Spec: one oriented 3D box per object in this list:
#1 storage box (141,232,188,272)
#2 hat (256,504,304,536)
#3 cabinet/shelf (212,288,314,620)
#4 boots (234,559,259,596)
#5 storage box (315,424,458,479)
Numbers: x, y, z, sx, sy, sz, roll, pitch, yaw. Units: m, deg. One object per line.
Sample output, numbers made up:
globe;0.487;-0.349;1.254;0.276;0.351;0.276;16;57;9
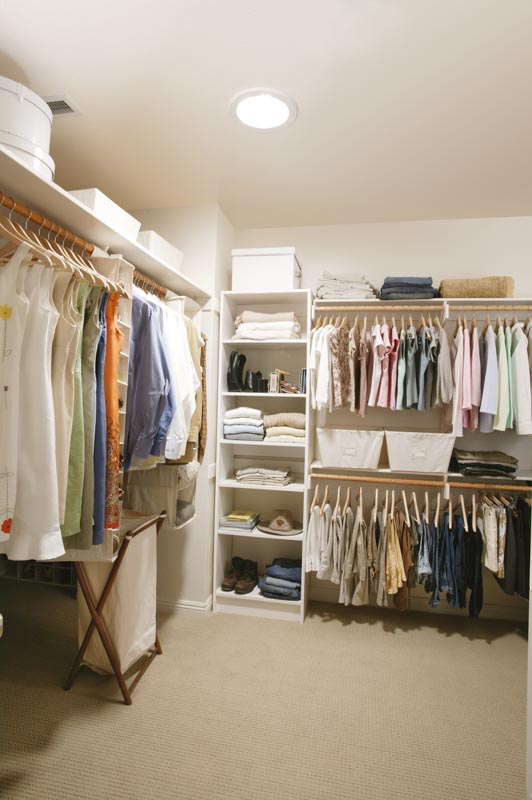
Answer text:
storage box;-0.518;-0.718;2.818;0.144;0.156;0.477;2;2;6
hat;0.079;0.726;3.431;0.266;0.109;0.273;2;2;1
cabinet/shelf;-0.018;0.297;3.497;0.583;1.891;0.624;2;2;4
boots;-0.117;1.069;3.473;0.117;0.111;0.313;2;2;8
storage box;0.640;0.287;3.198;0.739;0.256;0.186;3;2;14
